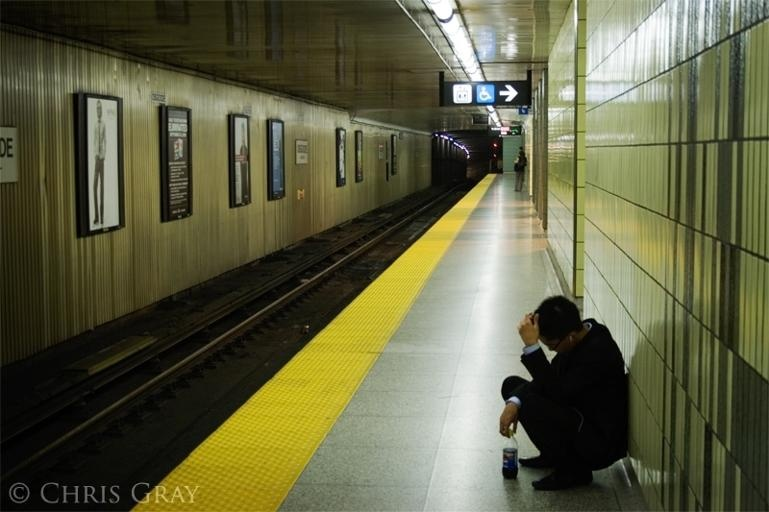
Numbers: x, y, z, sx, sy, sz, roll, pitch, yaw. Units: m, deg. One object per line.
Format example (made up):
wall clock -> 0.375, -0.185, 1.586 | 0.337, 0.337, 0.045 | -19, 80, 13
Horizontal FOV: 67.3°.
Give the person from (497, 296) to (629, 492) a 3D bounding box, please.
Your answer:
person -> 1.190, 0.810, 4.245 | 1.111, 1.453, 1.085 | 2, 3, 11
